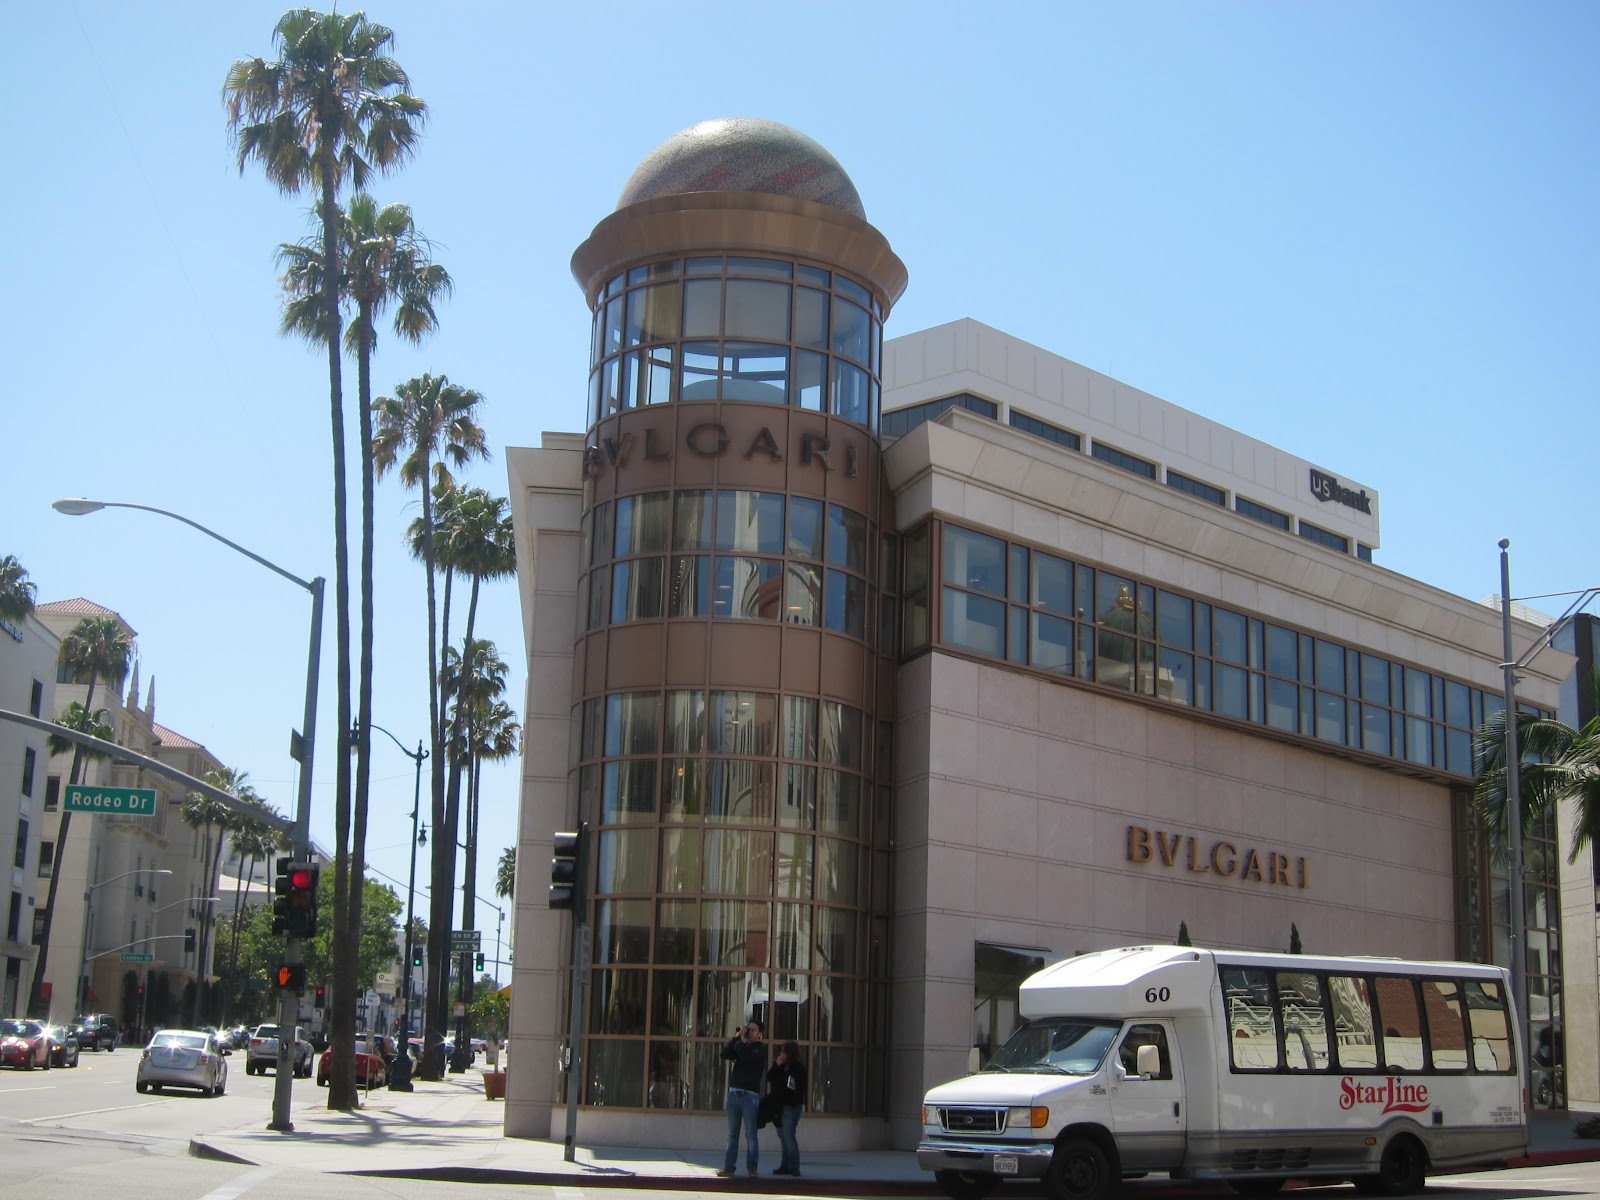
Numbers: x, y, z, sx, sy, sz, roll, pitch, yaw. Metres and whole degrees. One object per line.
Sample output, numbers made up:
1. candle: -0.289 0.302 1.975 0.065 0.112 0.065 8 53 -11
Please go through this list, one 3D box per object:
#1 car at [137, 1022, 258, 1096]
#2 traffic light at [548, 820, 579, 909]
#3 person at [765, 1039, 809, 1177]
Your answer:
1. car: -17.202 13.272 43.739 1.518 1.409 3.066 1 -6 -2
2. traffic light: -3.926 4.215 25.854 0.441 0.924 1.420 5 -18 -8
3. person: -0.266 8.411 25.135 0.637 2.213 1.360 1 -4 0
